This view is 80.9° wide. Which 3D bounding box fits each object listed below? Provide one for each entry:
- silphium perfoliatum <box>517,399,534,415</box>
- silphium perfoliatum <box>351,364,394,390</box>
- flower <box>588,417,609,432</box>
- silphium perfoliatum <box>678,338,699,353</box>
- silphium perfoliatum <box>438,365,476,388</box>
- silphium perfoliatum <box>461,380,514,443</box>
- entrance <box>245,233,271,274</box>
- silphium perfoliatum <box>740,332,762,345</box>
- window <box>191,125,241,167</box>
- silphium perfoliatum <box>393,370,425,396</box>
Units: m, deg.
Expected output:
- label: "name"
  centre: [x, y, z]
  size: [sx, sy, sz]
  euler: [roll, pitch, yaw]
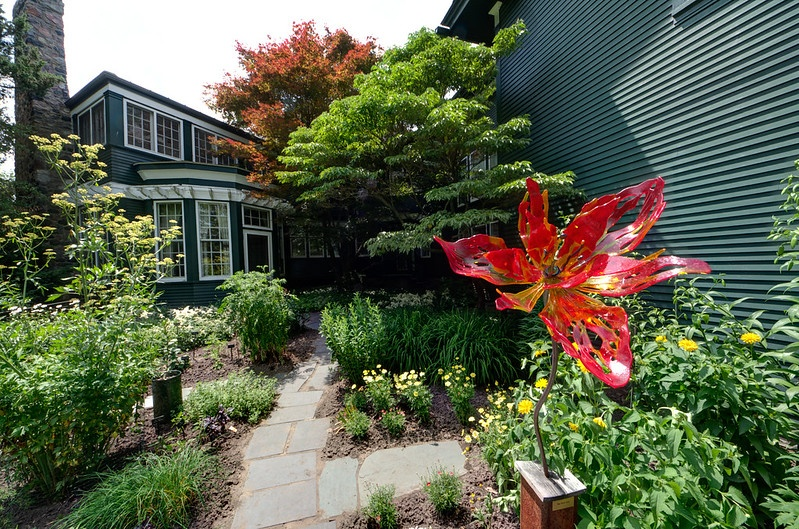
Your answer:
- label: "silphium perfoliatum"
  centre: [1.477, 1.653, 5.458]
  size: [0.205, 0.164, 0.225]
  euler: [-7, -1, -4]
- label: "silphium perfoliatum"
  centre: [-0.382, 1.686, 7.068]
  size: [0.502, 0.348, 0.762]
  euler: [-7, -1, -4]
- label: "flower"
  centre: [2.178, 1.765, 5.167]
  size: [0.167, 0.143, 0.104]
  euler: [-6, 0, -26]
- label: "silphium perfoliatum"
  centre: [3.316, 0.958, 5.415]
  size: [0.157, 0.072, 0.157]
  euler: [-6, 12, -10]
- label: "silphium perfoliatum"
  centre: [0.826, 1.636, 6.842]
  size: [0.442, 0.350, 0.414]
  euler: [1, 3, 13]
- label: "silphium perfoliatum"
  centre: [1.150, 1.937, 6.206]
  size: [0.660, 0.394, 0.650]
  euler: [-9, 17, 36]
- label: "entrance"
  centre: [-3.935, -0.280, 12.846]
  size: [0.090, 1.326, 1.146]
  euler: [0, -1, 23]
- label: "silphium perfoliatum"
  centre: [3.997, 0.845, 5.344]
  size: [0.191, 0.139, 0.152]
  euler: [-6, -1, -42]
- label: "window"
  centre: [-5.283, -3.377, 13.328]
  size: [0.080, 1.011, 1.683]
  euler: [-14, -23, 40]
- label: "silphium perfoliatum"
  centre: [0.141, 1.730, 6.780]
  size: [0.386, 0.295, 0.396]
  euler: [12, 7, 28]
